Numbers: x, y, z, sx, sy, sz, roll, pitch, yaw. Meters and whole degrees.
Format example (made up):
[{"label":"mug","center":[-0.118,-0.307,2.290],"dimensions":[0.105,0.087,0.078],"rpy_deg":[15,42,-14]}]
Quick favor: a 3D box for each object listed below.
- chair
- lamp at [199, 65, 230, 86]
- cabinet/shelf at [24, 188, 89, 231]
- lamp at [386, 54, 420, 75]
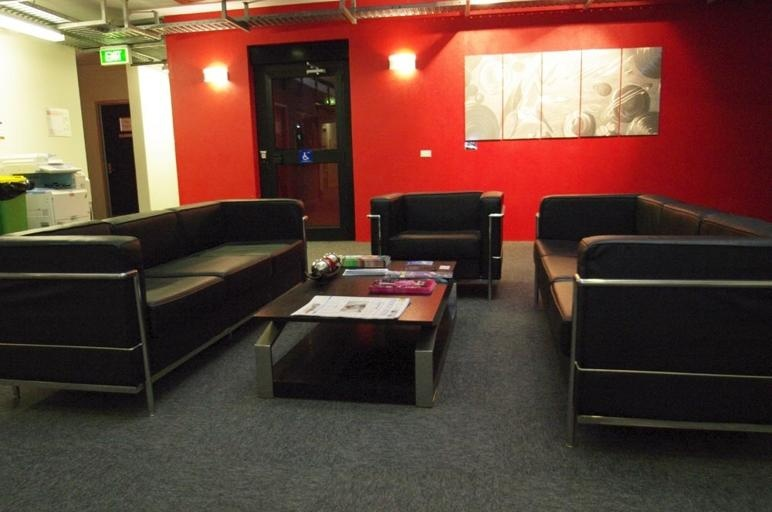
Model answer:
[{"label":"chair","center":[0.560,-0.235,6.062],"dimensions":[1.604,1.151,1.120],"rpy_deg":[1,7,12]},{"label":"lamp","center":[-2.526,-2.702,8.507],"dimensions":[0.387,0.321,0.086],"rpy_deg":[1,9,6]},{"label":"cabinet/shelf","center":[-4.552,-0.581,7.996],"dimensions":[0.485,0.737,0.830],"rpy_deg":[3,12,12]},{"label":"lamp","center":[0.233,-2.689,8.081],"dimensions":[0.318,0.131,0.311],"rpy_deg":[5,10,26]}]
